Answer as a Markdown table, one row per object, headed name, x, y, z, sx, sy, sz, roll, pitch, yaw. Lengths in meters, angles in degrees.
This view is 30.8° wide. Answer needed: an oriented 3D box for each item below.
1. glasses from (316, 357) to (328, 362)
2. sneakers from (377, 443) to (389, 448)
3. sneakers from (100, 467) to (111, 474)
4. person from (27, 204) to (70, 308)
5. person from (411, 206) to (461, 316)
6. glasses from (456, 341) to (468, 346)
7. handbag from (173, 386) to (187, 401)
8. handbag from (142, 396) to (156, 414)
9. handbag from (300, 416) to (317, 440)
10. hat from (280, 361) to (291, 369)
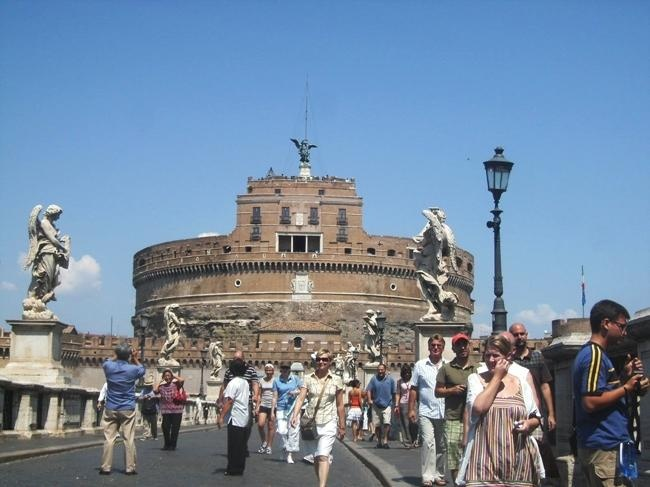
| name | x | y | z | sx | sy | sz | roll | pitch | yaw |
| --- | --- | --- | --- | --- | --- | --- | --- | --- | --- |
| glasses | -0.028 | 1.479 | 15.087 | 0.132 | 0.073 | 0.147 | 0 | -2 | 8 |
| sneakers | 1.069 | 3.703 | 21.713 | 0.084 | 0.090 | 0.232 | 8 | -13 | -31 |
| sneakers | -2.915 | 2.995 | 15.623 | 0.150 | 0.075 | 0.235 | 0 | -2 | -12 |
| person | -5.291 | 0.221 | 22.480 | 0.801 | 1.873 | 0.474 | 1 | -2 | -15 |
| person | 2.077 | 0.373 | 22.326 | 0.780 | 2.129 | 1.007 | 0 | -2 | 4 |
| glasses | 1.605 | 1.160 | 13.856 | 0.083 | 0.059 | 0.134 | 1 | -1 | -1 |
| handbag | -2.466 | 2.534 | 20.007 | 0.193 | 0.241 | 0.087 | 1 | -16 | -15 |
| handbag | -3.343 | 3.036 | 22.575 | 0.275 | 0.343 | 0.324 | 2 | -43 | -3 |
| handbag | -0.212 | 2.362 | 15.202 | 0.286 | 0.347 | 0.191 | -2 | -11 | 4 |
| hat | -0.643 | 1.907 | 18.955 | 0.132 | 0.157 | 0.156 | 2 | -36 | 3 |
